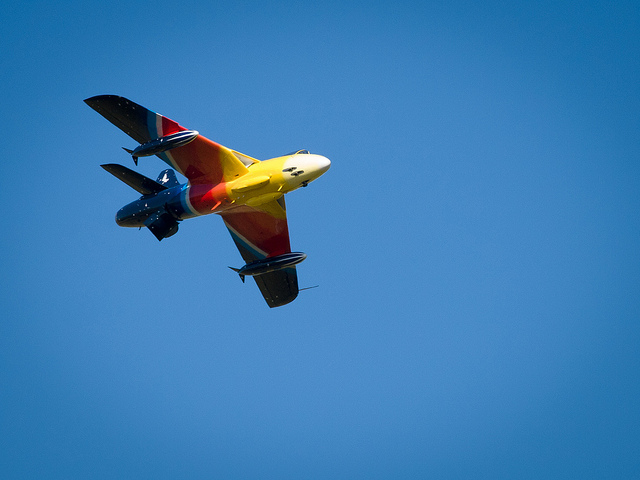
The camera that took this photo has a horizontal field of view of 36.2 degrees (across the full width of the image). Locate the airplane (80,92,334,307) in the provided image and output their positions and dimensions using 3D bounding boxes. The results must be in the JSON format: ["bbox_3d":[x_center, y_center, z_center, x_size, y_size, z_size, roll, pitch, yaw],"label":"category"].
[{"bbox_3d":[-3.040,-0.615,27.272,6.172,2.705,6.511,-6,-66,35],"label":"airplane"}]
